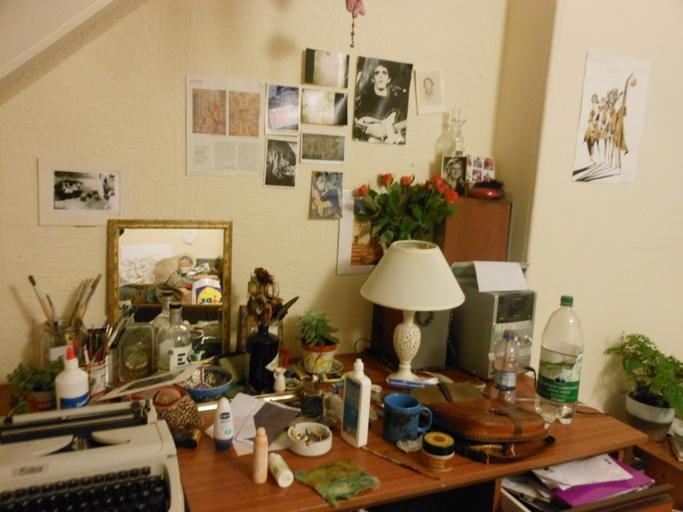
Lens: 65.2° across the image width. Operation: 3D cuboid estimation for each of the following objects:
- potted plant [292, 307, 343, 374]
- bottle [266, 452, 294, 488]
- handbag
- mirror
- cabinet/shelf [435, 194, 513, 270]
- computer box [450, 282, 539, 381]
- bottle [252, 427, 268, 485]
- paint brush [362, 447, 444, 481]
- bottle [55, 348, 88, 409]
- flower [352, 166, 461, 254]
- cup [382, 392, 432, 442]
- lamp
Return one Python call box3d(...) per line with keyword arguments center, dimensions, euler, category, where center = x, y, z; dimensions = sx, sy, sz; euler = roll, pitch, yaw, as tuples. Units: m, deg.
box3d(center=(-0.087, 0.355, 2.157), dimensions=(0.129, 0.208, 0.152), euler=(-5, 9, 2), category="potted plant")
box3d(center=(-0.180, 0.638, 1.607), dimensions=(0.054, 0.051, 0.111), euler=(-10, 17, -25), category="bottle")
box3d(center=(0.504, 0.568, 1.756), dimensions=(0.228, 0.076, 0.217), euler=(-3, 10, -22), category="handbag")
box3d(center=(-0.676, 0.113, 2.129), dimensions=(0.443, 0.586, 0.017), euler=(4, 33, -14), category="mirror")
box3d(center=(0.616, -0.152, 2.454), dimensions=(0.313, 0.299, 0.237), euler=(3, 26, 4), category="cabinet/shelf")
box3d(center=(0.637, 0.306, 2.299), dimensions=(0.269, 0.346, 0.342), euler=(1, 6, -15), category="computer box")
box3d(center=(-0.237, 0.586, 1.574), dimensions=(0.046, 0.157, 0.044), euler=(0, 5, 0), category="bottle")
box3d(center=(0.194, 0.645, 1.649), dimensions=(0.208, 0.010, 0.034), euler=(18, 24, 30), category="paint brush")
box3d(center=(-0.834, 0.373, 1.665), dimensions=(0.097, 0.195, 0.194), euler=(-3, 6, -27), category="bottle")
box3d(center=(0.272, -0.201, 2.330), dimensions=(0.359, 0.315, 0.364), euler=(5, 7, 3), category="flower")
box3d(center=(0.229, 0.553, 1.789), dimensions=(0.170, 0.125, 0.106), euler=(5, 4, 6), category="cup")
box3d(center=(0.271, 0.232, 2.147), dimensions=(0.430, 0.530, 0.444), euler=(7, 5, 38), category="lamp")
